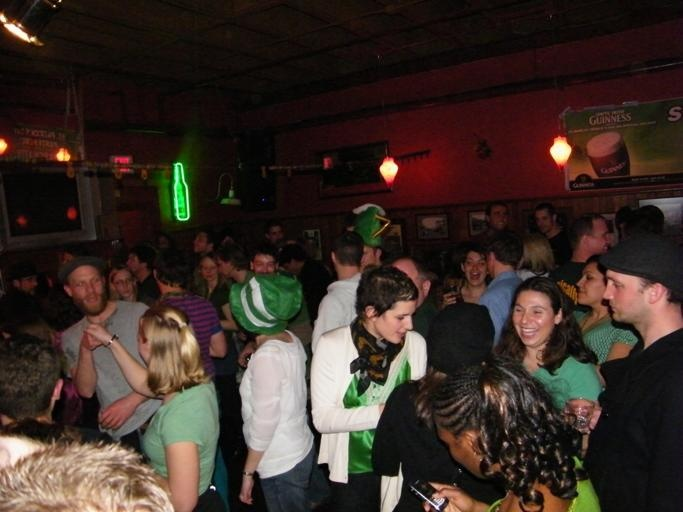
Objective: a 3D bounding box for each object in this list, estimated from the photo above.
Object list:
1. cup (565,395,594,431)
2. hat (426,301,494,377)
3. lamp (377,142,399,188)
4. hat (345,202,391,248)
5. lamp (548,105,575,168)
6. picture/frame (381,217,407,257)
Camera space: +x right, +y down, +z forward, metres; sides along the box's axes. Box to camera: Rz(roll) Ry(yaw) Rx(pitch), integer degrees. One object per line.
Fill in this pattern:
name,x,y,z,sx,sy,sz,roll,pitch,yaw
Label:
cup,1.381,0.927,3.111,0.182,0.161,0.145,20,-30,7
hat,0.697,0.459,3.096,0.421,0.361,0.314,2,10,4
lamp,0.822,-1.592,9.288,0.339,0.765,0.983,-1,6,6
hat,0.240,-0.307,4.912,0.373,0.354,0.364,9,-7,-31
lamp,3.201,-1.652,7.850,0.279,0.658,0.247,0,-9,10
picture/frame,0.866,-0.330,8.636,0.062,0.851,0.740,-3,7,-39
